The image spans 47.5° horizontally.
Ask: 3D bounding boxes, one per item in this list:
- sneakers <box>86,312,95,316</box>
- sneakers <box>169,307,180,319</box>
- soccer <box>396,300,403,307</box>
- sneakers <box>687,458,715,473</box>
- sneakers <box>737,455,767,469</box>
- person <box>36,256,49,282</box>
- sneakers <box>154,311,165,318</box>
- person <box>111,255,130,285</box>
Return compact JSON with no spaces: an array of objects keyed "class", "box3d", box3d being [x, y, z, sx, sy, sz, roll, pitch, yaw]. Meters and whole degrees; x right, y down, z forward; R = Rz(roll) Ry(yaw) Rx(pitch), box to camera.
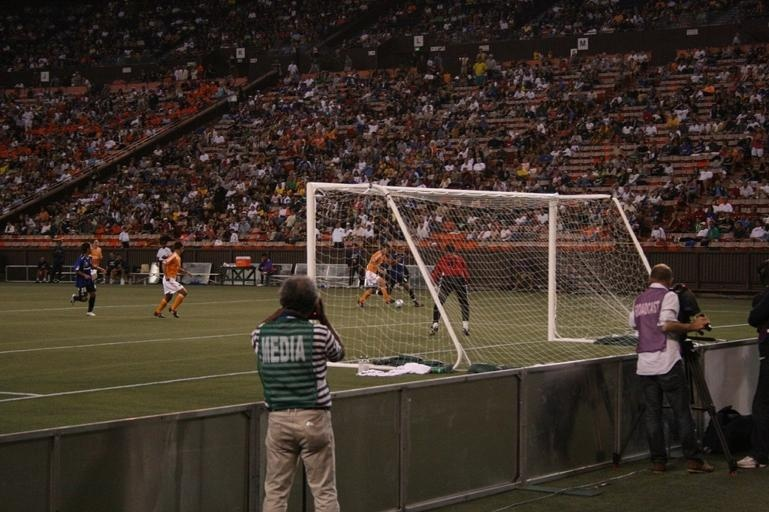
[{"class":"sneakers","box3d":[-8.687,1.706,25.920,0.284,0.116,0.102,1,7,6]},{"class":"sneakers","box3d":[-6.171,1.653,25.582,0.137,0.319,0.107,-30,19,21]},{"class":"soccer","box3d":[0.421,1.385,25.719,0.195,0.210,0.241,4,19,14]},{"class":"sneakers","box3d":[4.448,2.913,12.203,0.438,0.180,0.152,-1,3,-26]},{"class":"sneakers","box3d":[5.134,2.907,12.330,0.467,0.176,0.177,0,-1,4]},{"class":"person","box3d":[-16.243,0.602,41.559,0.517,1.107,0.489,2,10,-19]},{"class":"sneakers","box3d":[-6.459,1.678,25.207,0.387,0.154,0.118,2,31,-43]},{"class":"person","box3d":[-12.237,0.614,40.162,0.843,1.286,0.932,3,9,-9]}]
